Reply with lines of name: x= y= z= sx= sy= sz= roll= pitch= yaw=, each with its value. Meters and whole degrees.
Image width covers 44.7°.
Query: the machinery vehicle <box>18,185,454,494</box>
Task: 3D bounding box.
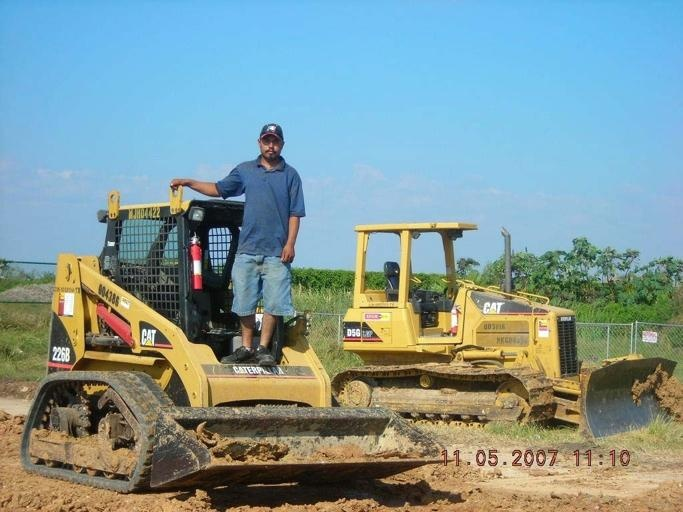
machinery vehicle: x=-1.559 y=0.973 z=9.744 sx=4.500 sy=3.465 sz=3.312 roll=-8 pitch=-14 yaw=43

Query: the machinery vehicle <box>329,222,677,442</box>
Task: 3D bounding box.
machinery vehicle: x=3.031 y=1.629 z=15.471 sx=5.260 sy=3.988 sz=3.345 roll=-3 pitch=-3 yaw=31
